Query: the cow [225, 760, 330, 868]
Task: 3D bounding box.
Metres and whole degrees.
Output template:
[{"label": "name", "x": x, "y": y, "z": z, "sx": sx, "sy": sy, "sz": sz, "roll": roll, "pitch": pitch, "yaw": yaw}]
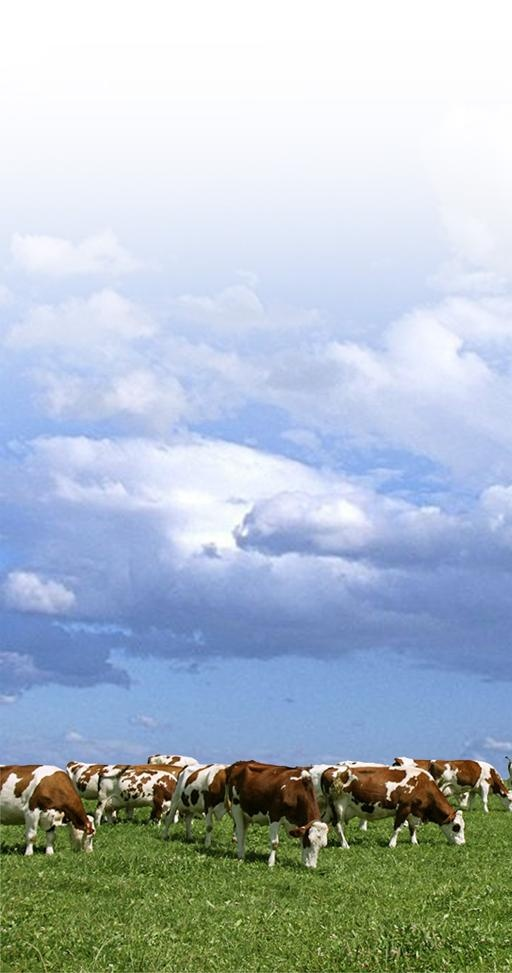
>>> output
[{"label": "cow", "x": 0.501, "y": 8.619, "z": 28.885, "sx": 1.515, "sy": 2.386, "sz": 3.773, "roll": 5, "pitch": -8, "yaw": -31}]
